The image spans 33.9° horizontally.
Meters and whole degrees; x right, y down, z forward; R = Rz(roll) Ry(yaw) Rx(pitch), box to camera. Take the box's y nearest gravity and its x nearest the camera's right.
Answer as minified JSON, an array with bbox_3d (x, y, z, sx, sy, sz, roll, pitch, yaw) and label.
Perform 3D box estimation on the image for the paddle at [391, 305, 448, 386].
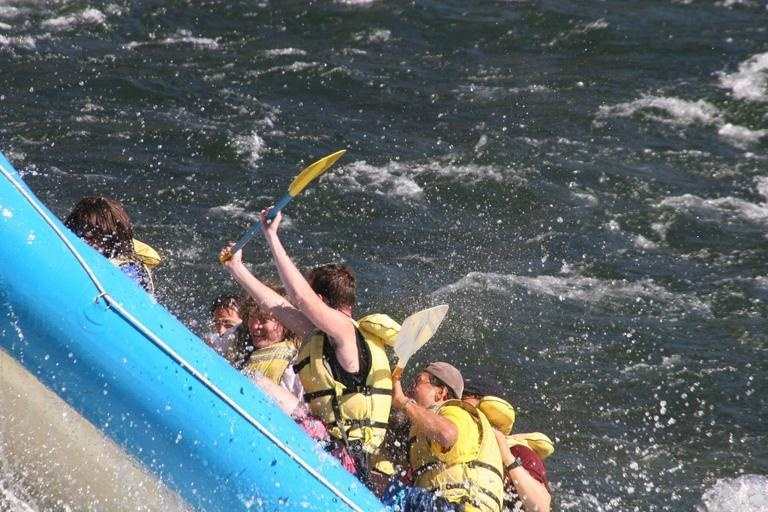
[{"bbox_3d":[0.331,1.065,16.423,0.441,1.291,0.189,35,-1,-16],"label":"paddle"}]

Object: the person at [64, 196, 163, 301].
[{"bbox_3d":[-3.606,-0.297,16.903,1.556,0.656,1.146,45,8,-7],"label":"person"}]

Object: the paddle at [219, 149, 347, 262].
[{"bbox_3d":[-1.569,-0.710,19.267,0.483,2.929,0.223,57,2,29],"label":"paddle"}]

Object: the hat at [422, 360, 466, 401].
[{"bbox_3d":[0.813,1.554,16.317,0.521,0.268,0.382,38,2,4],"label":"hat"}]
